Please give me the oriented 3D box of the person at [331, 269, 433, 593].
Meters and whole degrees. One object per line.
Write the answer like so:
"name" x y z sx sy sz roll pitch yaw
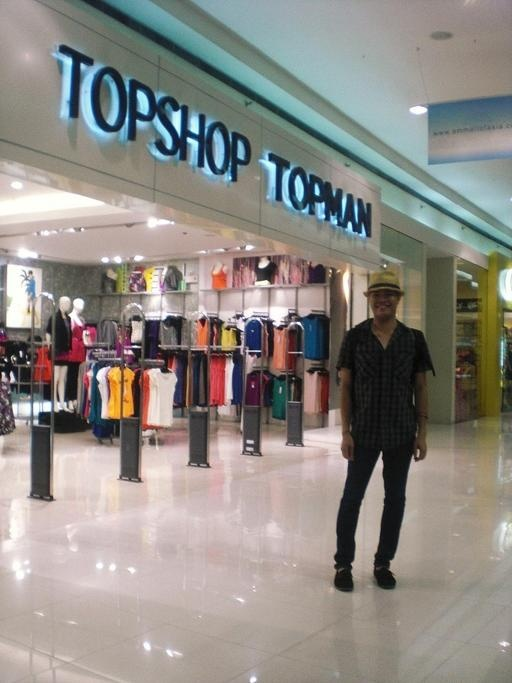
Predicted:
"person" 0.581 0.394 2.536 0.425 1.432 0.257 -1 -4 20
